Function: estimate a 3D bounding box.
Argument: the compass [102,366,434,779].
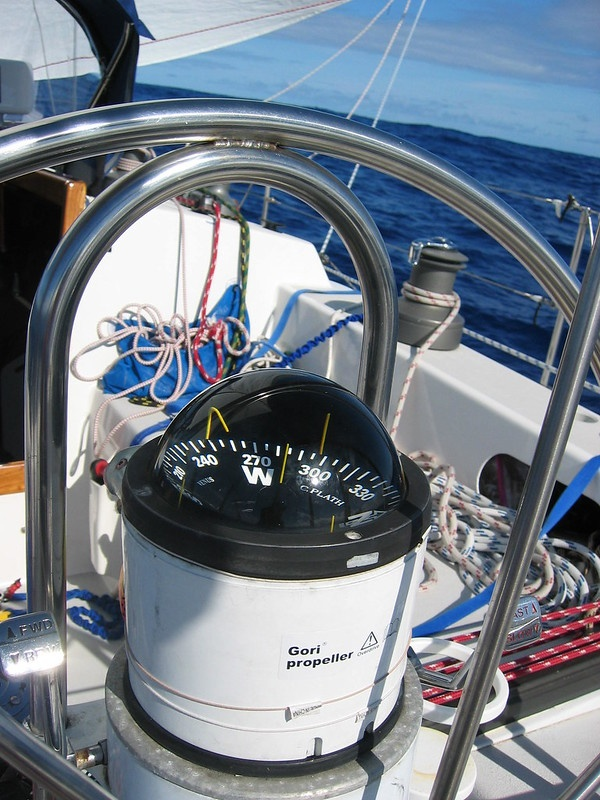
[{"bbox_3d":[-0.014,0.152,0.818,0.345,0.332,0.324,5,15,17],"label":"compass"}]
